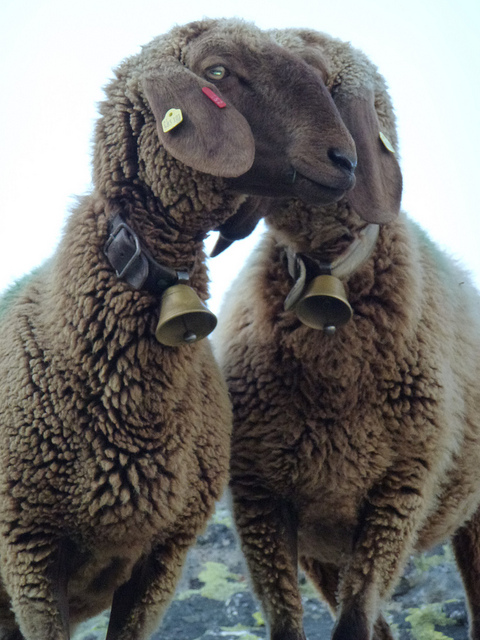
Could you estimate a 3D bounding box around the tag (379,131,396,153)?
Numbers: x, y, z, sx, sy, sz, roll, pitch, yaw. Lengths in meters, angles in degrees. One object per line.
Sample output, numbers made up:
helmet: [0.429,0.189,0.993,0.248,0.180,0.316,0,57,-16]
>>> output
tag: [0.553,-0.672,4.070,0.079,0.064,0.091,20,-9,7]

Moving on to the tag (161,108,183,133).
tag: [-0.223,-0.644,3.485,0.078,0.072,0.010,-27,-49,21]

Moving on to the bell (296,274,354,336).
bell: [0.301,-0.050,3.917,0.190,0.220,0.184,-2,11,17]
